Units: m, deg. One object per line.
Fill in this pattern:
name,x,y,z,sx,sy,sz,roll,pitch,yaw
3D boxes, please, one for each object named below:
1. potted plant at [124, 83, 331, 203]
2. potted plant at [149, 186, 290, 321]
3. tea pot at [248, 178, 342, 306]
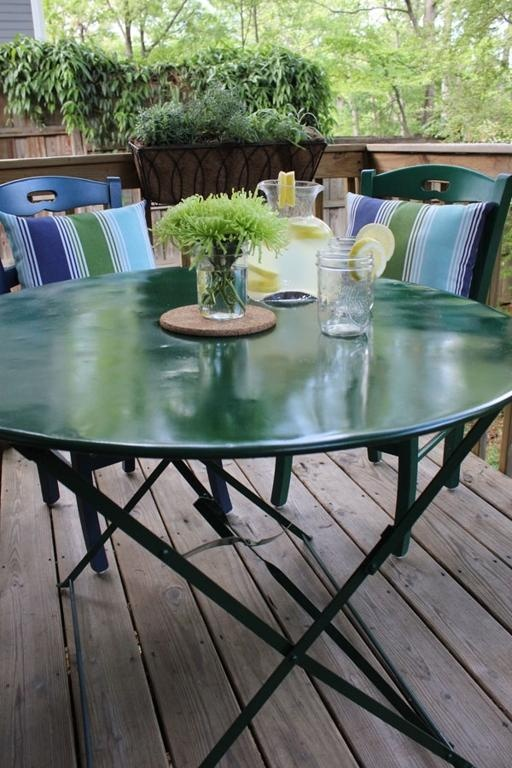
potted plant,-0.136,-0.984,2.296,0.787,0.441,0.335,-11,22,-20
potted plant,-0.051,-0.210,0.907,0.167,0.231,0.192,-13,26,-36
tea pot,0.070,-0.302,1.127,0.164,0.213,0.138,0,9,7
